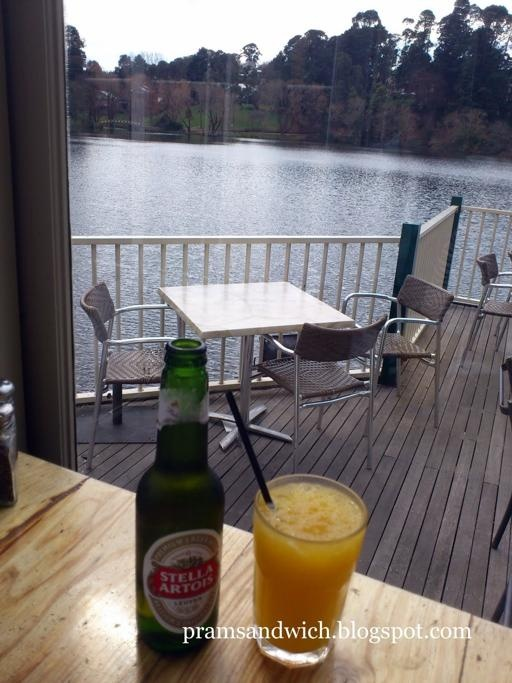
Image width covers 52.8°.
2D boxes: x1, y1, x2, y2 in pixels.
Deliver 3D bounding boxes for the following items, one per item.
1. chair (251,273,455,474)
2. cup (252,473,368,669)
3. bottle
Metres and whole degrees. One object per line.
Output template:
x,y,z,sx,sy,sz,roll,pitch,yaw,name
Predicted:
0.526,0.204,2.810,0.929,0.677,0.531,-12,27,-32,chair
0.039,0.196,0.431,0.089,0.130,0.088,7,-25,3,cup
-0.059,0.122,0.404,0.069,0.231,0.068,2,7,0,bottle
